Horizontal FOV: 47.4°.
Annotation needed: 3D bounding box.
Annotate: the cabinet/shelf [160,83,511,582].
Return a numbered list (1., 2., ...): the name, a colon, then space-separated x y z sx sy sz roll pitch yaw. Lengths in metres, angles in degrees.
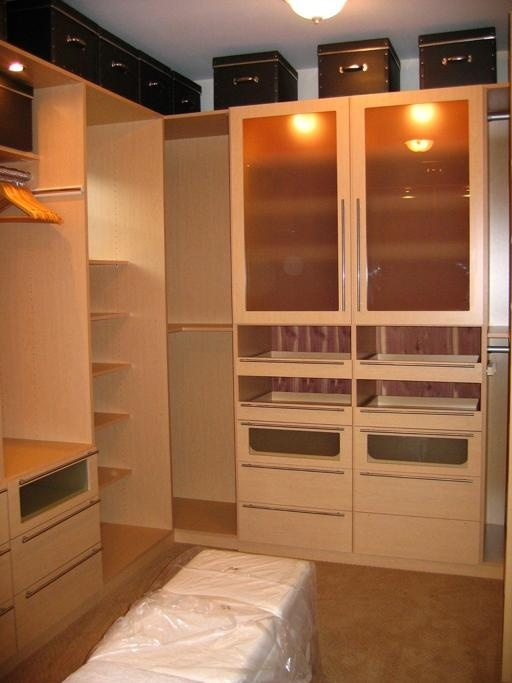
1. cabinet/shelf: 0.324 -0.058 3.057 1.643 2.262 0.485 0 4 20
